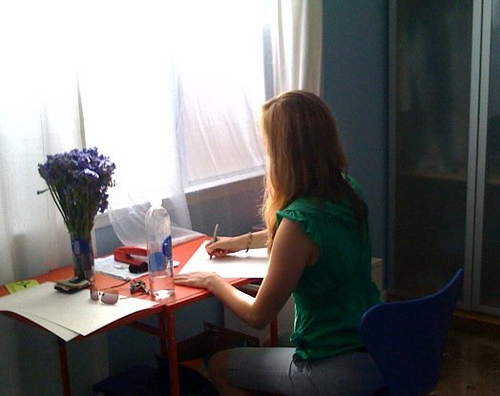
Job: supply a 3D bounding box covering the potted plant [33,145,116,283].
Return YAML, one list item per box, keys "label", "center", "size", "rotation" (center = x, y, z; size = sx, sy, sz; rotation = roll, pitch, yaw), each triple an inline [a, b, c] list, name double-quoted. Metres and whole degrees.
- label: "potted plant"
  center: [-0.607, 0.066, 1.423]
  size: [0.190, 0.469, 0.223]
  rotation: [8, 14, 36]

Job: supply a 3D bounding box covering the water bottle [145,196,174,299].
- label: "water bottle"
  center: [-0.320, 0.180, 1.371]
  size: [0.086, 0.369, 0.094]
  rotation: [4, 13, -1]

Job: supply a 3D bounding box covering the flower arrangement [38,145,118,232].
- label: "flower arrangement"
  center: [-0.597, -0.020, 1.384]
  size: [0.242, 0.290, 0.114]
  rotation: [-7, 13, -29]

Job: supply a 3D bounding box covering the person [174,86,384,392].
- label: "person"
  center: [0.122, 0.175, 1.328]
  size: [0.568, 1.034, 0.365]
  rotation: [6, 13, 30]
